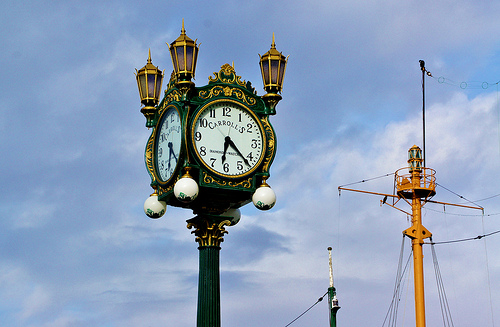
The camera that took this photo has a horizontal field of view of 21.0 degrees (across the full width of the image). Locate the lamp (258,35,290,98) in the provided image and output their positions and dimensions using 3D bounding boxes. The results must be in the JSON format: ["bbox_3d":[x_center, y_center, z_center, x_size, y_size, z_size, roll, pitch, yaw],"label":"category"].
[{"bbox_3d":[0.893,-3.896,53.498,1.134,2.553,1.198,-6,-13,32],"label":"lamp"}]

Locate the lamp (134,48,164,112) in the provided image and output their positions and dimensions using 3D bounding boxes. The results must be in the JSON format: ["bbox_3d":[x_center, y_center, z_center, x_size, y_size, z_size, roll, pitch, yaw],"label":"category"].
[{"bbox_3d":[-4.096,-3.468,54.745,1.259,2.615,1.041,-7,-11,32],"label":"lamp"}]
